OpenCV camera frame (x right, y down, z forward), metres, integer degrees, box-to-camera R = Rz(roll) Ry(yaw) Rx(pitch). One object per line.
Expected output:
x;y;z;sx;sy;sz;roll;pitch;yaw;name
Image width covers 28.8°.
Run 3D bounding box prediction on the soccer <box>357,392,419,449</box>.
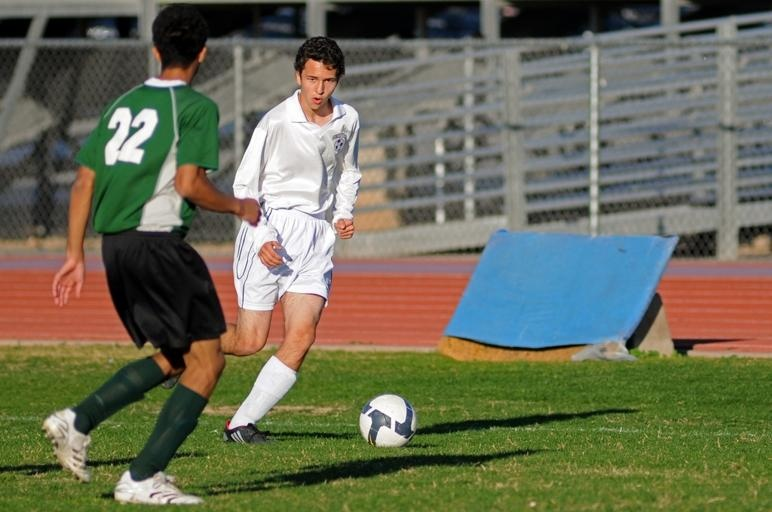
0.027;1.701;15.649;0.559;0.501;0.538;-17;39;-24;soccer
